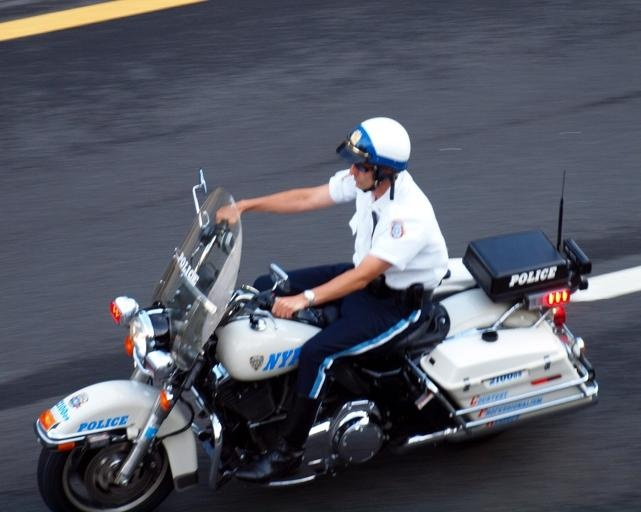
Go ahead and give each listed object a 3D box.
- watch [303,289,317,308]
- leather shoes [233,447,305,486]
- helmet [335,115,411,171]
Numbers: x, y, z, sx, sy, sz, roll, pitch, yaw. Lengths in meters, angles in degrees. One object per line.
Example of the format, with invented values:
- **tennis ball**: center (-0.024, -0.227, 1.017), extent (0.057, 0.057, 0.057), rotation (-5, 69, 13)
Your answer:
- **watch**: center (-0.065, 0.301, 7.779), extent (0.104, 0.110, 0.069), rotation (-18, 12, -19)
- **leather shoes**: center (-0.346, 1.498, 7.892), extent (0.365, 0.238, 0.122), rotation (-8, 53, -16)
- **helmet**: center (0.391, -0.808, 7.926), extent (0.493, 0.239, 0.334), rotation (6, 33, -15)
